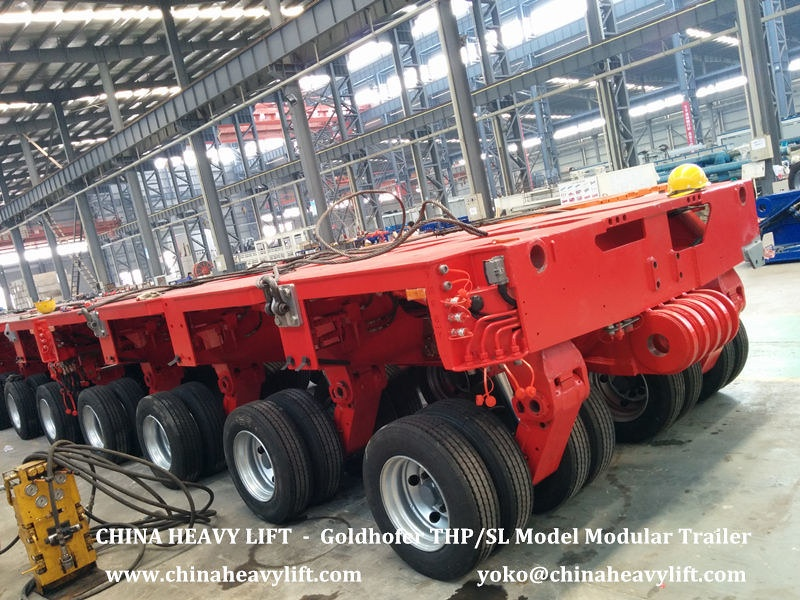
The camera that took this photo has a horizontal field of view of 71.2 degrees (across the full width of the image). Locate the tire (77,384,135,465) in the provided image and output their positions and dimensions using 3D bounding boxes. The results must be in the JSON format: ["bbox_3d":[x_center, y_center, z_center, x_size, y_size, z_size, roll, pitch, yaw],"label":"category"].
[{"bbox_3d":[-3.130,1.324,6.002,0.284,0.805,0.834,-18,23,-34],"label":"tire"}]

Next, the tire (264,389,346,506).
[{"bbox_3d":[-0.741,1.146,4.321,0.273,0.687,0.748,-23,49,-37],"label":"tire"}]

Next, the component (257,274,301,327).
[{"bbox_3d":[-0.834,0.012,3.893,0.144,0.289,0.334,-19,10,-36],"label":"component"}]

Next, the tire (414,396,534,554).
[{"bbox_3d":[0.519,1.042,3.474,0.504,0.812,0.283,-5,12,45],"label":"tire"}]

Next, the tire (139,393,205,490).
[{"bbox_3d":[-2.126,1.310,5.263,0.334,0.848,0.934,-23,18,-35],"label":"tire"}]

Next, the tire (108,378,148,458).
[{"bbox_3d":[-2.937,1.284,6.019,0.268,0.631,0.750,-22,39,-37],"label":"tire"}]

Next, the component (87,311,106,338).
[{"bbox_3d":[-3.172,0.261,5.918,0.221,0.272,0.084,-1,8,18],"label":"component"}]

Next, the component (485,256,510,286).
[{"bbox_3d":[0.524,-0.161,3.005,0.145,0.169,0.099,-8,5,-9],"label":"component"}]

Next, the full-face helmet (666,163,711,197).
[{"bbox_3d":[2.230,-0.948,4.300,0.325,0.161,0.260,-27,23,-28],"label":"full-face helmet"}]

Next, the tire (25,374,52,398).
[{"bbox_3d":[-5.008,1.195,7.748,0.226,0.384,0.397,-10,23,-34],"label":"tire"}]

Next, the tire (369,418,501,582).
[{"bbox_3d":[0.204,1.244,3.616,0.339,0.982,1.029,-13,20,-38],"label":"tire"}]

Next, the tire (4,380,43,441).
[{"bbox_3d":[-5.423,1.574,8.072,0.252,0.738,0.746,-20,-15,-38],"label":"tire"}]
